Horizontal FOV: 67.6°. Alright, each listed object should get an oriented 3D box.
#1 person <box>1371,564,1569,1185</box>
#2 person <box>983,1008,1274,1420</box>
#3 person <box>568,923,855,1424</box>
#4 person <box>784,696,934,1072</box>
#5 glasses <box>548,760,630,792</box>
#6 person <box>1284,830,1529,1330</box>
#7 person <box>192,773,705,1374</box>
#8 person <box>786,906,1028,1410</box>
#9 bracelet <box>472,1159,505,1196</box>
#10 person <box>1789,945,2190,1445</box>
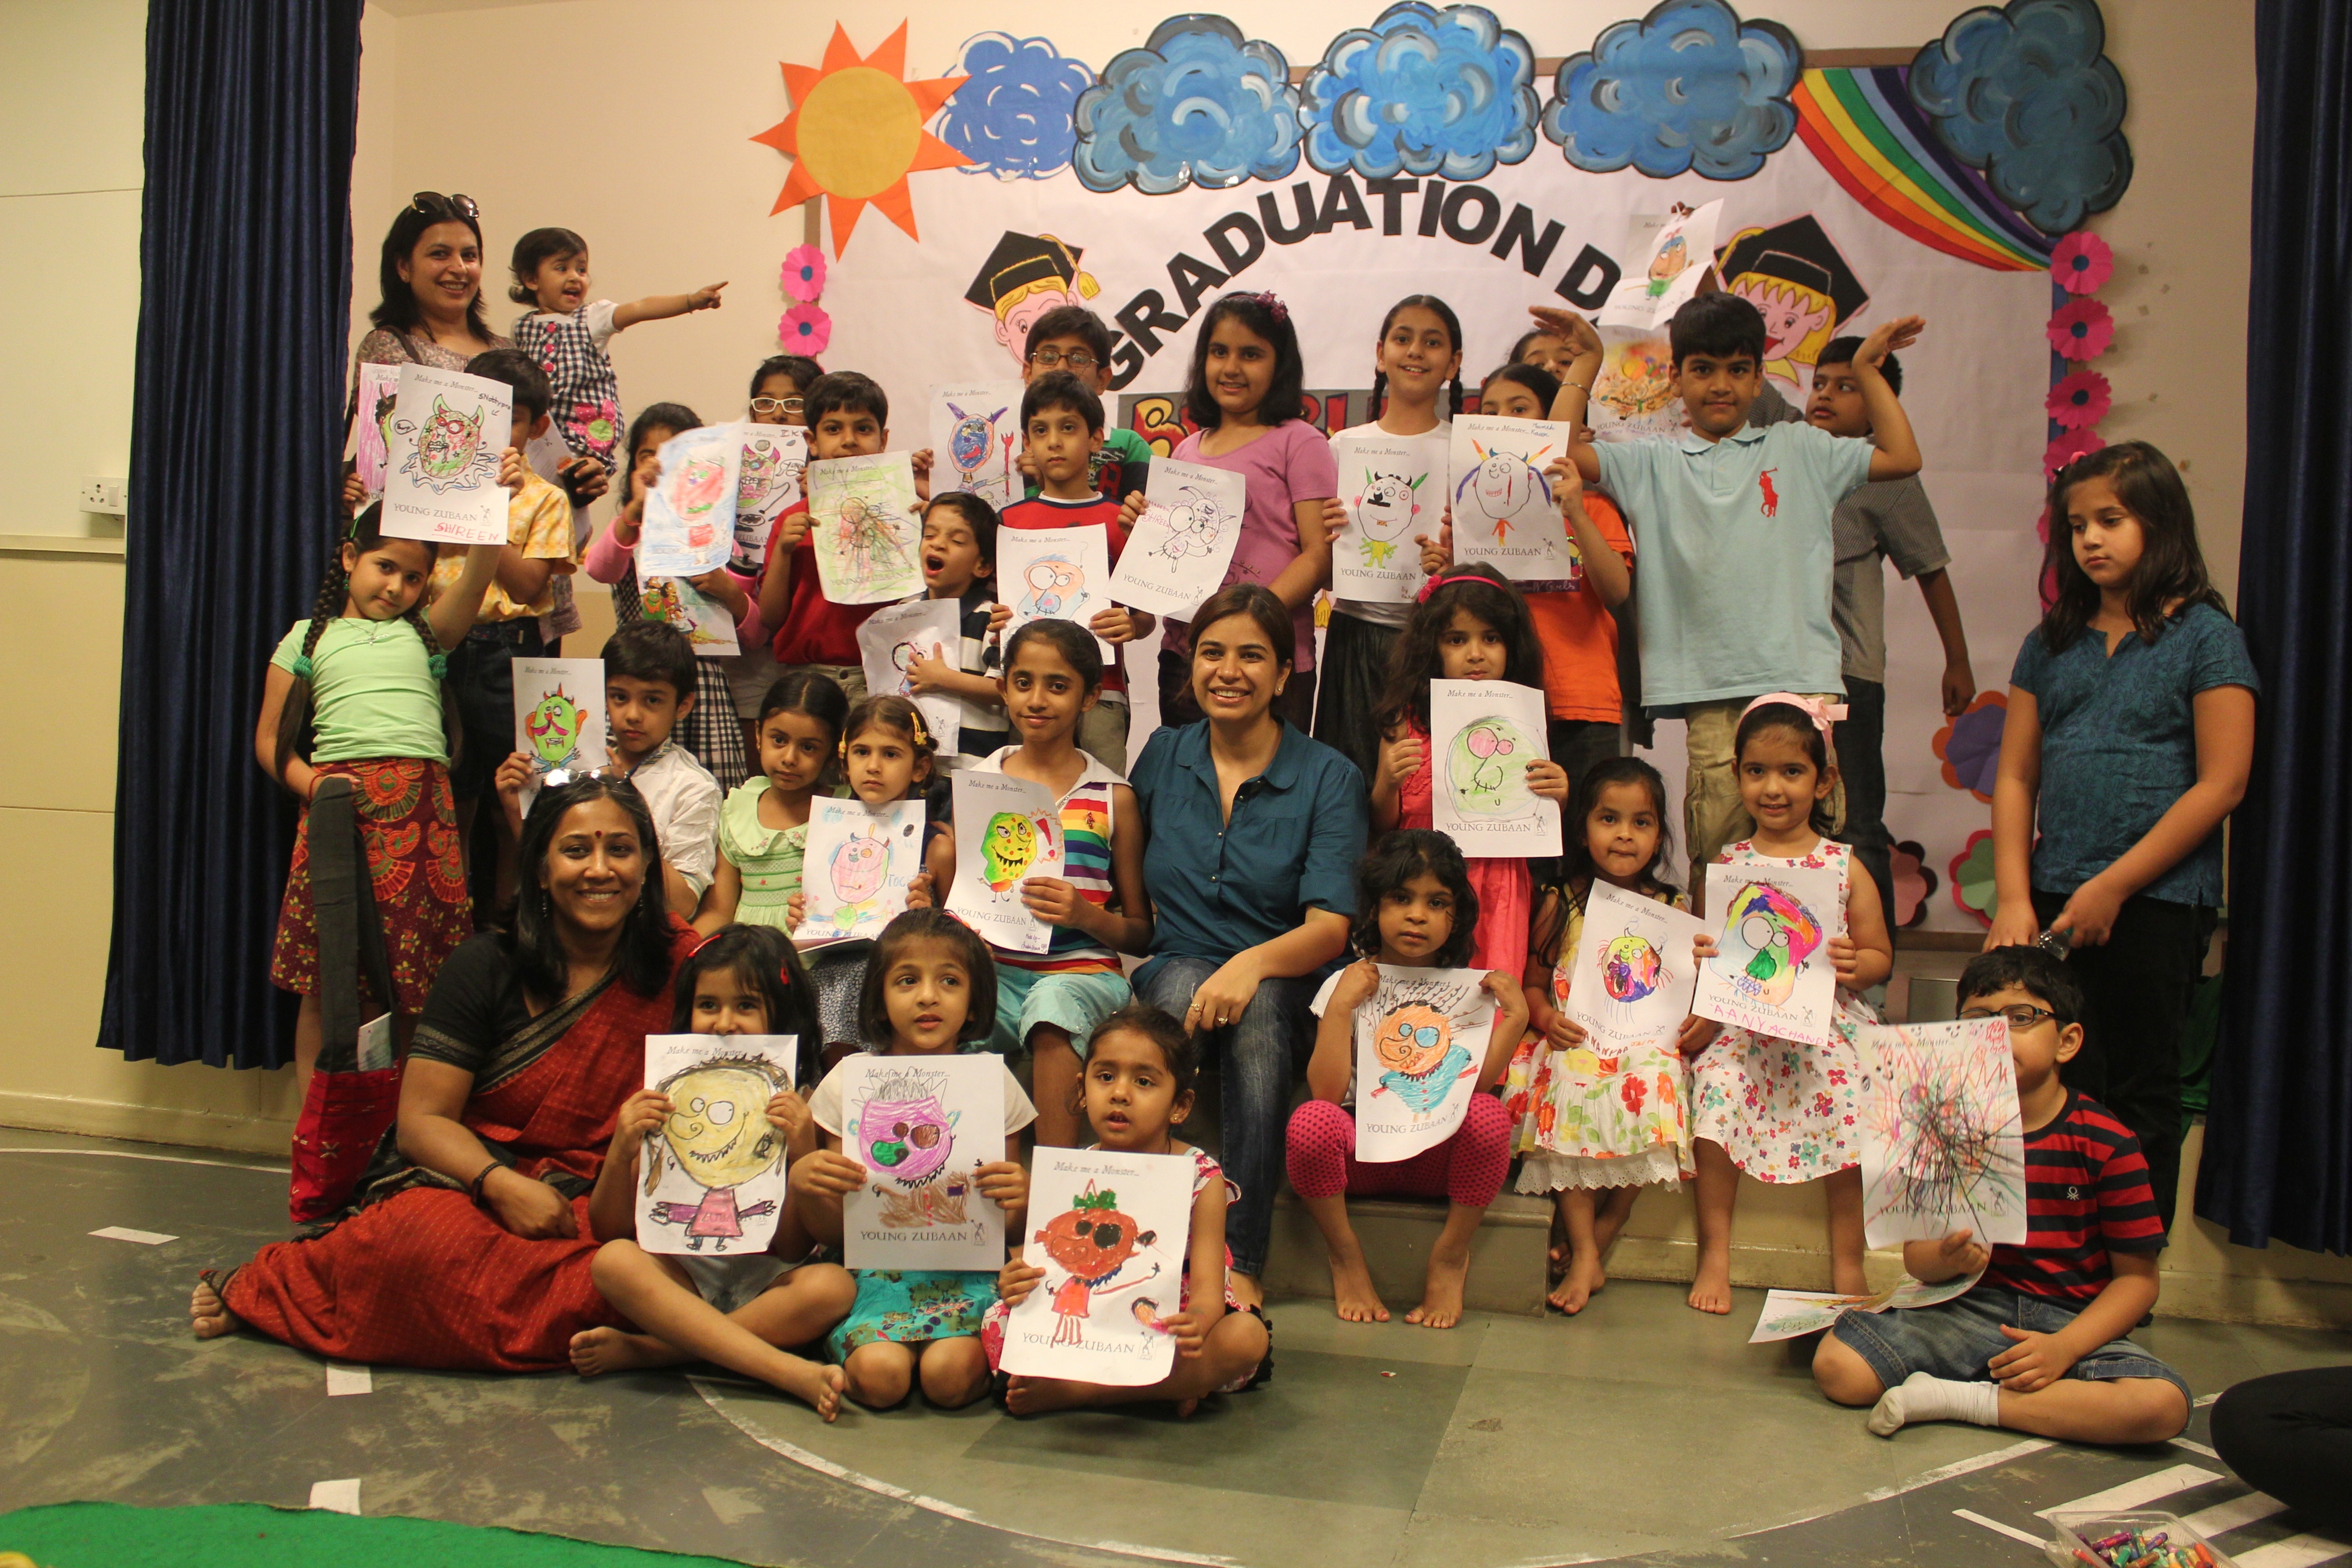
[{"bbox_3d":[0.716,0.063,4.144,0.446,1.119,0.377,-1,10,10],"label":"person"},{"bbox_3d":[-0.093,0.833,3.426,0.564,0.738,0.349,0,9,-8],"label":"person"},{"bbox_3d":[-0.899,0.743,3.500,0.576,0.842,0.454,2,9,4],"label":"person"},{"bbox_3d":[-0.729,0.265,4.068,0.317,0.870,0.255,4,4,-10],"label":"person"},{"bbox_3d":[-1.304,-0.015,3.834,0.146,0.038,0.153,0,2,18],"label":"glasses"},{"bbox_3d":[0.502,0.632,3.849,0.500,1.029,0.333,2,9,5],"label":"person"},{"bbox_3d":[-1.554,0.628,3.829,1.012,0.957,0.580,11,-7,-4],"label":"person"},{"bbox_3d":[-0.508,0.731,3.531,0.566,0.933,0.563,2,2,42],"label":"person"},{"bbox_3d":[-1.413,0.805,3.589,0.056,0.053,0.015,-24,-49,37],"label":"bracelet"},{"bbox_3d":[1.618,0.822,3.743,0.806,0.962,0.803,1,-1,-41],"label":"person"}]
